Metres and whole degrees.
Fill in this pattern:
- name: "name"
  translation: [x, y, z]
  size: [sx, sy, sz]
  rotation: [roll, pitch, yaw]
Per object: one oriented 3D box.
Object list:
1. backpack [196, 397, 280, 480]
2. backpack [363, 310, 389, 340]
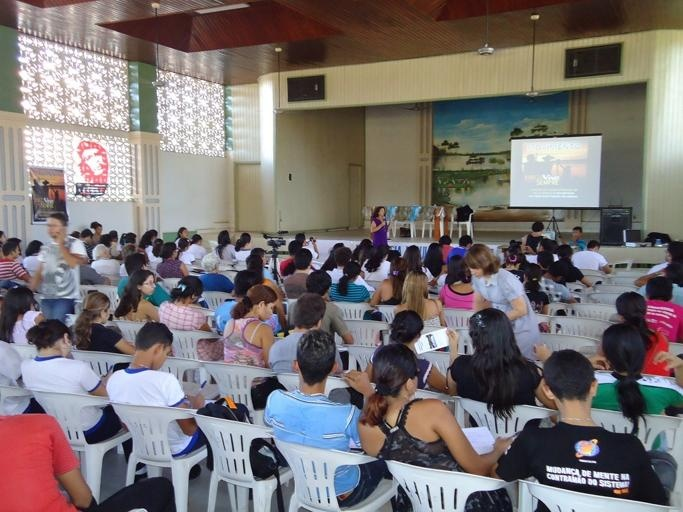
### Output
- name: "backpack"
  translation: [-0.545, 1.012, 2.831]
  size: [0.380, 0.408, 0.469]
  rotation: [-7, 9, -41]
- name: "backpack"
  translation: [0.340, 0.637, 5.023]
  size: [0.221, 0.310, 0.228]
  rotation: [8, 19, 27]
